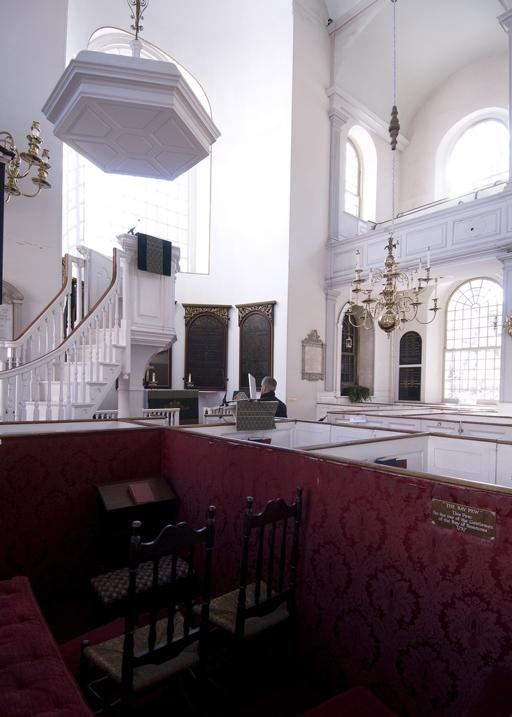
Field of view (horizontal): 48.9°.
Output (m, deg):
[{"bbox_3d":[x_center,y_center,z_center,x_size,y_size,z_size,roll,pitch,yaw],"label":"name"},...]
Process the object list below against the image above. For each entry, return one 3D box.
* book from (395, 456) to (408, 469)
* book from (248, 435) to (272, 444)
[{"bbox_3d":[0.884,0.637,3.394,0.065,0.059,0.245,2,-1,16],"label":"book"},{"bbox_3d":[0.026,0.586,4.026,0.140,0.032,0.329,3,-1,9],"label":"book"}]
